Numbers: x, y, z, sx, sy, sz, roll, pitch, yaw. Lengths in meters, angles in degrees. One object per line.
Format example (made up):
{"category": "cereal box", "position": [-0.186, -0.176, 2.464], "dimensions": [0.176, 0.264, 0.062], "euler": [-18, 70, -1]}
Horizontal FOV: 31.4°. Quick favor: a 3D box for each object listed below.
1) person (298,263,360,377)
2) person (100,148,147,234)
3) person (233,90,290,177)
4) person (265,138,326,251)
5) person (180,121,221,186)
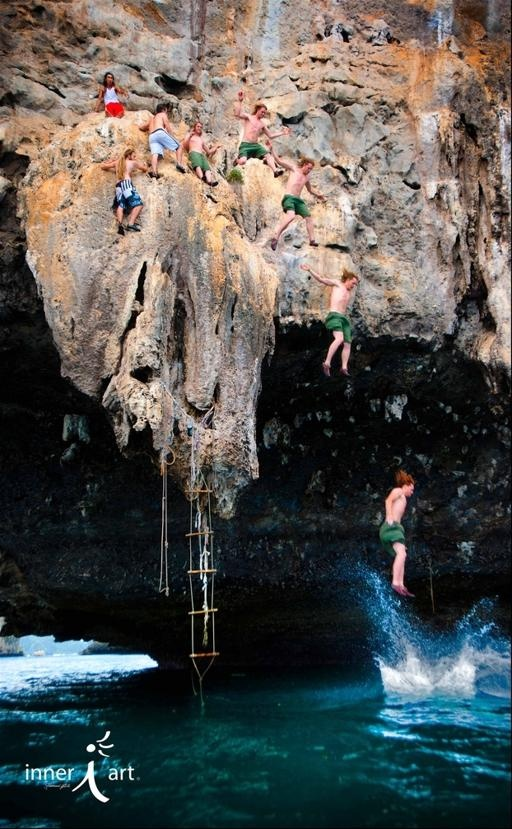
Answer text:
{"category": "person", "position": [0.944, -1.288, 11.587], "dimensions": [0.559, 1.627, 1.424], "euler": [-3, -3, 32]}
{"category": "person", "position": [-1.474, -2.558, 10.304], "dimensions": [0.498, 1.038, 0.326], "euler": [-1, -2, -10]}
{"category": "person", "position": [0.043, -3.641, 11.847], "dimensions": [0.780, 1.016, 0.550], "euler": [3, 9, 6]}
{"category": "person", "position": [0.530, -2.782, 11.723], "dimensions": [0.623, 1.345, 1.019], "euler": [-2, -2, 11]}
{"category": "person", "position": [-0.632, -3.178, 11.013], "dimensions": [0.441, 0.858, 0.301], "euler": [0, -14, -36]}
